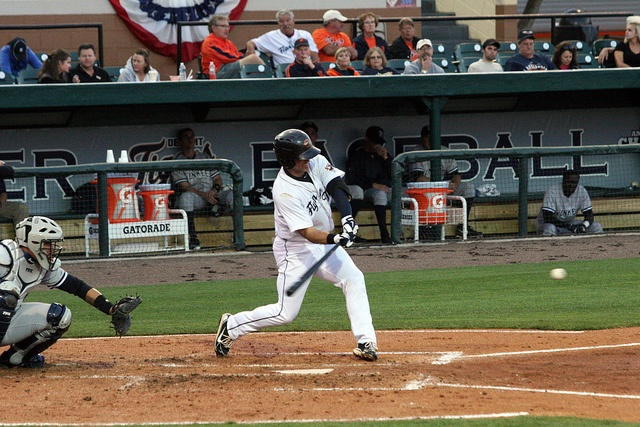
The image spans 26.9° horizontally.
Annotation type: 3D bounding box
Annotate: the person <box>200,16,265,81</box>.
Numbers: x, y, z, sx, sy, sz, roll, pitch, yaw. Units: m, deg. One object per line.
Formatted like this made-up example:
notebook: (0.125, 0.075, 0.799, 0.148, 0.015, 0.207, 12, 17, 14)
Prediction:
person: (-1.662, -2.766, 22.637, 1.403, 1.330, 0.795, -3, 14, 5)

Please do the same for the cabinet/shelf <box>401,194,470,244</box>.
cabinet/shelf: (2.025, 0.083, 22.811, 0.957, 0.838, 0.563, -3, 1, 30)

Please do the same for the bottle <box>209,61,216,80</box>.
bottle: (-1.797, -2.416, 22.560, 0.108, 0.315, 0.253, -1, 1, -4)

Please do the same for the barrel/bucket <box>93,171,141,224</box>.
barrel/bucket: (-3.242, -0.249, 22.151, 0.506, 0.819, 0.310, -1, 2, -8)

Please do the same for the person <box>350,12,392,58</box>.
person: (0.930, -3.091, 23.736, 0.778, 0.881, 0.736, 2, 11, 11)

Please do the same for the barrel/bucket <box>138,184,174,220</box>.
barrel/bucket: (-2.674, -0.158, 22.342, 0.655, 0.545, 0.568, 0, -6, -2)

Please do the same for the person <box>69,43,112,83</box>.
person: (-3.811, -2.553, 22.297, 0.470, 0.744, 0.764, 1, -8, -7)

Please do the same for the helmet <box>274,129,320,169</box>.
helmet: (-0.329, -0.808, 17.344, 0.627, 0.421, 0.420, 12, 31, 10)

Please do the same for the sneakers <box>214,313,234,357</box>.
sneakers: (-1.241, 1.614, 17.619, 0.279, 0.548, 0.199, 1, 4, 14)

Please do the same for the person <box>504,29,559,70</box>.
person: (3.633, -2.864, 23.543, 0.618, 0.800, 1.269, 0, -1, 3)

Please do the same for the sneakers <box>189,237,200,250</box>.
sneakers: (-2.092, 0.525, 22.466, 0.167, 0.200, 0.075, -2, -20, -8)

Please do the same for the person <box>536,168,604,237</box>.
person: (4.300, -0.185, 23.212, 1.041, 1.089, 0.389, -1, 2, 2)

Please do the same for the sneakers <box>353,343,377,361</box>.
sneakers: (0.596, 1.814, 17.435, 0.304, 0.249, 0.193, -1, 1, 9)

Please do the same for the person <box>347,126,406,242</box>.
person: (0.874, -0.479, 23.003, 0.981, 2.008, 1.157, 6, -3, 3)

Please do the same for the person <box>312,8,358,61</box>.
person: (0.322, -3.001, 23.700, 0.838, 1.108, 0.614, 2, 3, 14)

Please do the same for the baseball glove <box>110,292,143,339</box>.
baseball glove: (-2.531, 1.331, 17.395, 0.321, 0.541, 0.288, -6, 17, -45)

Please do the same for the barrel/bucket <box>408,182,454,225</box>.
barrel/bucket: (1.836, -0.160, 22.709, 0.669, 0.721, 0.247, -1, 2, 3)
